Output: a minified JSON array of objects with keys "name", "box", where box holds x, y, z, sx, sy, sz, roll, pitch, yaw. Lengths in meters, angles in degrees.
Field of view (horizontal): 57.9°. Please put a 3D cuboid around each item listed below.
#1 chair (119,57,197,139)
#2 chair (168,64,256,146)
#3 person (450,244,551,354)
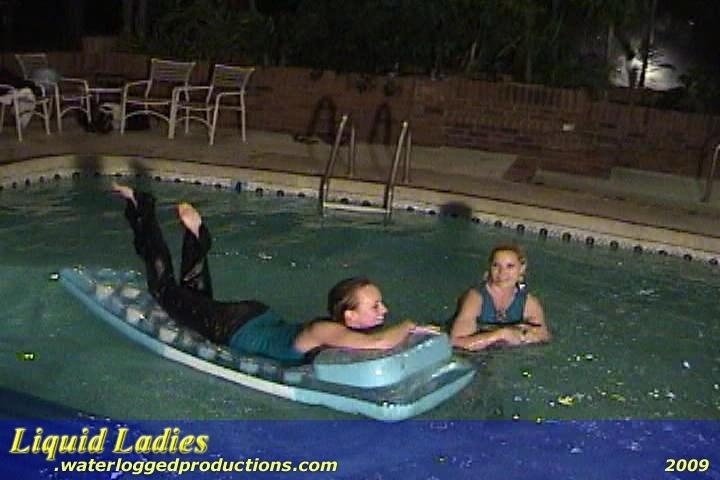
[{"name":"chair","box":[-3.618,-2.611,11.743,1.283,1.392,1.206,-2,16,-26]},{"name":"chair","box":[-2.659,-2.482,11.659,1.301,1.421,1.298,-1,16,-27]},{"name":"person","box":[1.304,0.534,6.172,0.940,0.983,0.638,-7,24,-12]}]
